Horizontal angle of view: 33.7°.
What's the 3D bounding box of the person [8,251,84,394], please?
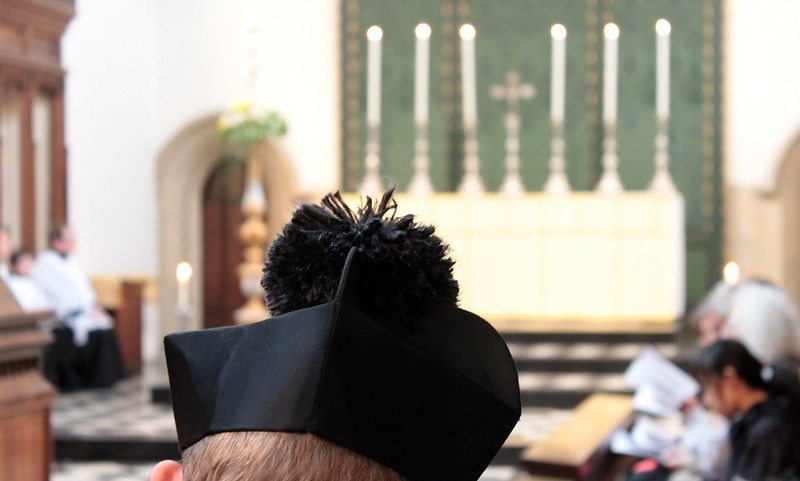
[{"bbox_3d":[-3.133,0.740,11.571,0.398,1.355,1.126,-1,5,-4],"label":"person"}]
